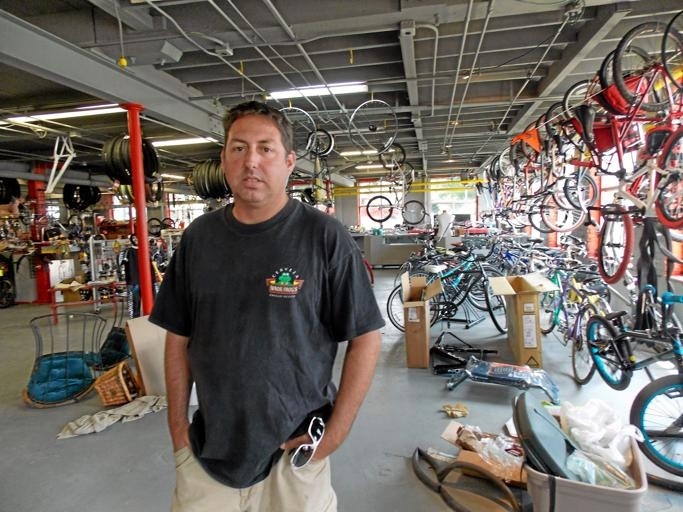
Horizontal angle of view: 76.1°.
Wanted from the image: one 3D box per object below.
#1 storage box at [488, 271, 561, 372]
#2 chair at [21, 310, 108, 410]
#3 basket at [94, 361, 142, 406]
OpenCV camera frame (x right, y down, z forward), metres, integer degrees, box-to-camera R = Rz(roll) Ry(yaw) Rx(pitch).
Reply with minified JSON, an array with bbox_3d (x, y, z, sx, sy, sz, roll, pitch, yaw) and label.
[{"bbox_3d":[2.209,0.748,5.169,0.785,0.850,1.048,-4,0,15],"label":"storage box"},{"bbox_3d":[-3.104,1.153,4.940,0.857,0.897,0.853,6,-3,-8],"label":"chair"},{"bbox_3d":[-2.326,1.334,4.539,0.437,0.452,0.265,-3,4,-22],"label":"basket"}]
